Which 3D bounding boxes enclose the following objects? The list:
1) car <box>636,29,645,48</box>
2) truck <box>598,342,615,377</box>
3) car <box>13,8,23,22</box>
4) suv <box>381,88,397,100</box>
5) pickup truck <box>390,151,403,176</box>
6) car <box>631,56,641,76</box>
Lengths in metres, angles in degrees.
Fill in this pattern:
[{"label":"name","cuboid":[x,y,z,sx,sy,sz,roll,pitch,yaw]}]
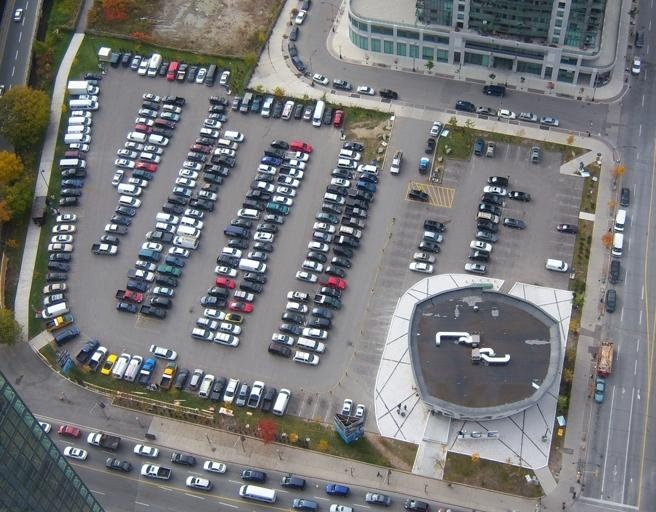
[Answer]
[{"label":"car","cuboid":[91.612,-63.812,418.400,2.087,1.912,4.510,5,84,9]},{"label":"truck","cuboid":[73.116,28.112,375.918,4.027,4.192,8.760,4,47,11]},{"label":"car","cuboid":[-95.194,-74.008,435.729,2.304,1.590,4.364,12,81,2]},{"label":"suv","cuboid":[17.535,-47.183,416.311,4.693,2.343,2.648,12,74,12]},{"label":"pickup truck","cuboid":[19.432,-26.060,405.506,2.600,2.246,7.230,9,84,14]},{"label":"car","cuboid":[89.415,-55.488,413.780,2.361,1.687,5.469,-1,96,-6]}]
